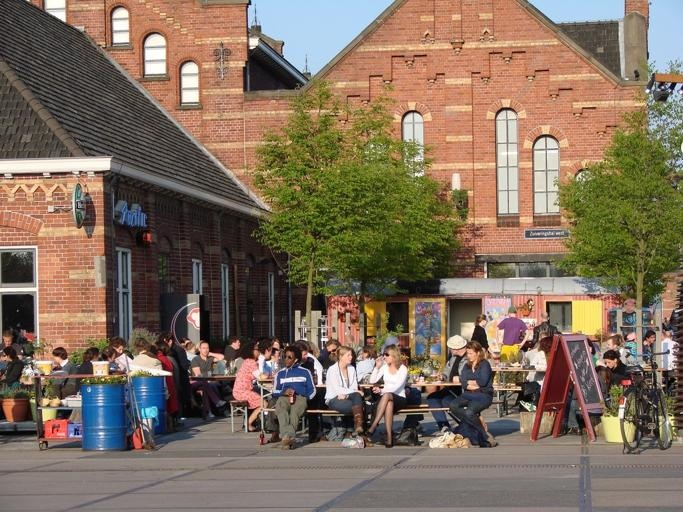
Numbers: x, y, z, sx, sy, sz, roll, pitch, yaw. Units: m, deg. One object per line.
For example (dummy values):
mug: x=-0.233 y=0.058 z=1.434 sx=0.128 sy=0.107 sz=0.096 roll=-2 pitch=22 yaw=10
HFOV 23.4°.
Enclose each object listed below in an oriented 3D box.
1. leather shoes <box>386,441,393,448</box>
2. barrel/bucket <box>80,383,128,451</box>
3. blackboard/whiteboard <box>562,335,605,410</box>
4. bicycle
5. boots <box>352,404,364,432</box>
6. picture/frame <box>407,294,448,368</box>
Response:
leather shoes: x=1.056 y=4.213 z=36.375 sx=0.168 sy=0.123 sz=0.223 roll=-4 pitch=-7 yaw=0
barrel/bucket: x=-5.236 y=3.641 z=36.903 sx=1.364 sy=1.934 sz=1.312 roll=-1 pitch=-5 yaw=0
blackboard/whiteboard: x=5.421 y=2.660 z=36.834 sx=0.373 sy=1.769 sz=1.102 roll=-10 pitch=-9 yaw=42
bicycle: x=6.532 y=3.401 z=35.868 sx=0.948 sy=1.249 sz=2.095 roll=-4 pitch=1 yaw=32
boots: x=0.372 y=3.665 z=36.560 sx=0.242 sy=0.641 sz=0.464 roll=-4 pitch=-7 yaw=0
picture/frame: x=2.857 y=2.649 z=56.005 sx=0.979 sy=2.356 sz=0.762 roll=-3 pitch=1 yaw=16
